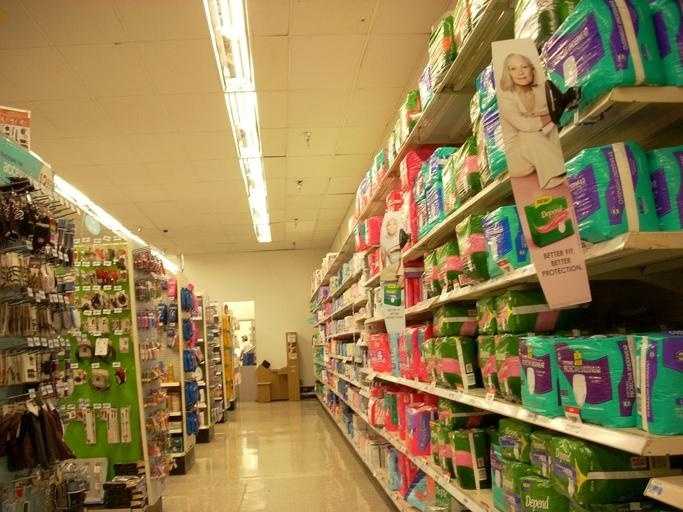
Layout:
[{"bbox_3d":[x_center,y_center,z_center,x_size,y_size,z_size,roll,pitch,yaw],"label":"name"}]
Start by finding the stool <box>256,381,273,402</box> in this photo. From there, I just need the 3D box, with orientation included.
[{"bbox_3d":[-2.205,3.794,13.645,0.448,0.721,0.583,-1,-2,-7],"label":"stool"}]

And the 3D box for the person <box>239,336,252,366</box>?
[{"bbox_3d":[-2.861,2.809,14.282,0.430,0.887,0.189,-3,-12,-3],"label":"person"}]

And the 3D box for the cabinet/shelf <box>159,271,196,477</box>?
[{"bbox_3d":[-2.221,1.540,6.443,0.348,2.679,1.337,-2,-12,-7],"label":"cabinet/shelf"}]
